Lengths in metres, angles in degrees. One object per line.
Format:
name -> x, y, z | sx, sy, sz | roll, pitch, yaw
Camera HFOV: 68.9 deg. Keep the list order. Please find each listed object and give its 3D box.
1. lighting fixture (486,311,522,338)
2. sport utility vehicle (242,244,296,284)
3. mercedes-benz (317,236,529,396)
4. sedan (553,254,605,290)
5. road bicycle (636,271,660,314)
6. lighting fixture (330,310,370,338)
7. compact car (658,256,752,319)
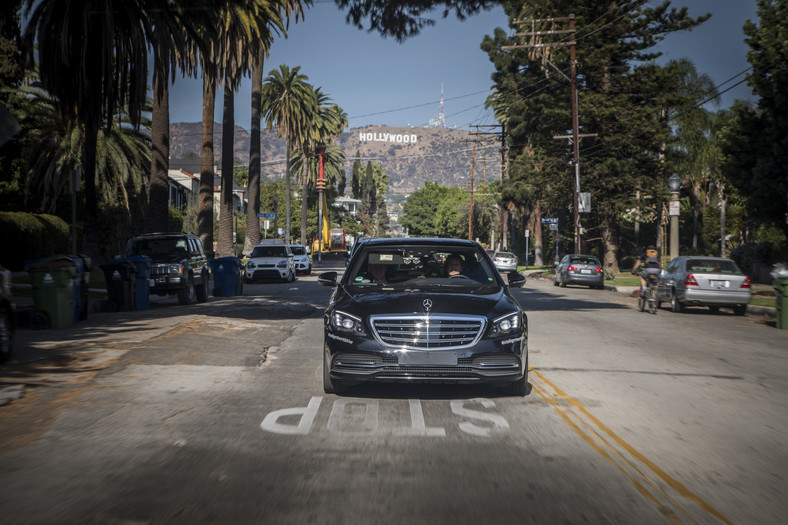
lighting fixture -> 1.553, 0.849, 7.927 | 0.320, 0.142, 0.380 | -31, 3, 23
sport utility vehicle -> -7.531, -0.013, 34.868 | 2.806, 2.276, 2.307 | -1, 1, -16
mercedes-benz -> 0.453, 0.768, 8.631 | 2.880, 2.327, 2.013 | 0, 1, 0
sedan -> 11.757, 0.504, 35.980 | 2.670, 2.106, 2.087 | 0, 1, 20
road bicycle -> 9.832, 1.067, 21.911 | 0.534, 1.573, 1.014 | 0, 1, -5
lighting fixture -> -0.617, 0.823, 7.921 | 0.334, 0.135, 0.375 | 30, -7, -26
compact car -> 11.905, 0.824, 21.880 | 2.988, 2.196, 1.932 | 1, 2, 37
